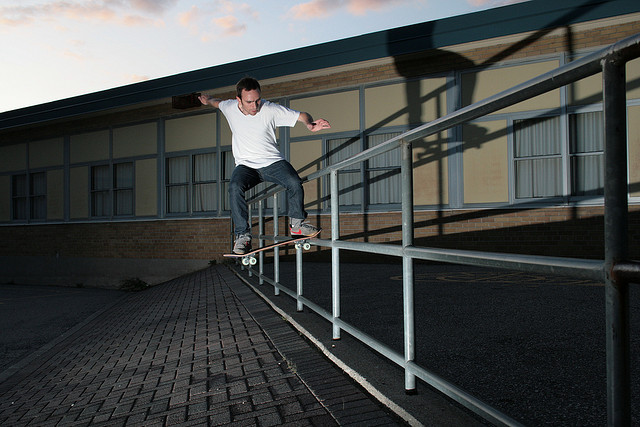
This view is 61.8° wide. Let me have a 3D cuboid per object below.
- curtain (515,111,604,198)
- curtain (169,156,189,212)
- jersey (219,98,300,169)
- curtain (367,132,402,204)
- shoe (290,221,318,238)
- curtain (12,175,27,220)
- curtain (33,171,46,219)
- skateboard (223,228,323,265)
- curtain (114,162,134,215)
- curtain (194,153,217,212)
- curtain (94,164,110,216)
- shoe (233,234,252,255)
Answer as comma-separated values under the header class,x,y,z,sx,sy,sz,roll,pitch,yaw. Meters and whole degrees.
class,x,y,z,sx,sy,sz,roll,pitch,yaw
curtain,5.184,-1.238,11.657,1.727,1.800,0.274,-2,-1,20
curtain,-4.097,-0.822,15.514,0.755,1.602,0.165,-2,-2,34
jersey,-0.914,-1.156,7.840,1.132,1.035,0.354,-1,-1,-4
curtain,1.581,-1.019,13.061,1.099,1.891,0.095,2,8,38
shoe,-0.244,0.250,7.712,0.418,0.215,0.313,-1,-2,2
curtain,-10.197,-0.530,18.190,0.646,1.583,0.165,-2,-3,18
curtain,-9.308,-0.548,17.751,0.658,1.690,0.150,-9,-7,31
skateboard,-0.649,0.528,8.031,1.425,0.223,0.336,-17,6,2
curtain,-6.029,-0.729,16.336,0.822,1.650,0.071,-3,-5,22
curtain,-3.325,-0.837,15.192,0.152,1.767,1.026,5,10,36
curtain,-6.811,-0.697,16.591,0.073,1.585,0.697,5,7,20
shoe,-1.151,0.475,7.947,0.304,0.379,0.880,0,-6,-8
